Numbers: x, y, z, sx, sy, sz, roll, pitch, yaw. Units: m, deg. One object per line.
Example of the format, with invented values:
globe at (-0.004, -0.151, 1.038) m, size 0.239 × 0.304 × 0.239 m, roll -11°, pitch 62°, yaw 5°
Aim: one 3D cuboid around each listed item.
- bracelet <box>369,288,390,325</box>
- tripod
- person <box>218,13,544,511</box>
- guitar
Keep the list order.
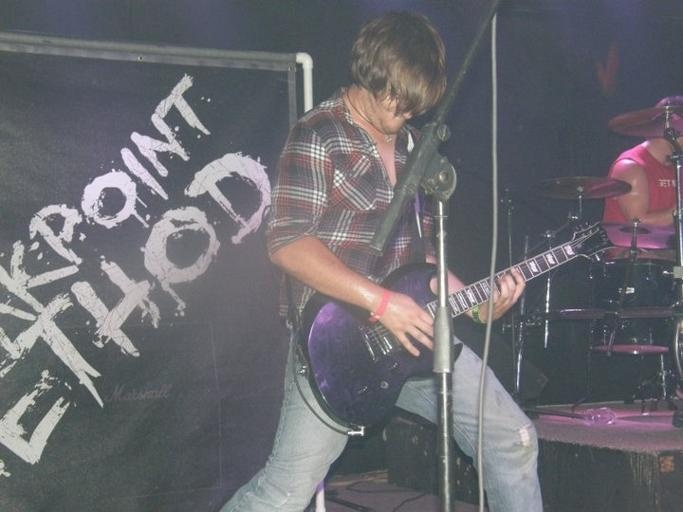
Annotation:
bracelet at (0.172, 0.221, 3.355) m, size 0.072 × 0.158 × 0.081 m, roll 13°, pitch 13°, yaw 2°
tripod at (1.364, 0.436, 5.321) m, size 0.593 × 1.372 × 0.185 m, roll 7°, pitch 3°, yaw 16°
person at (0.256, 0.183, 3.489) m, size 1.288 × 2.468 × 0.855 m, roll 12°, pitch 12°, yaw -4°
guitar at (0.533, 0.248, 3.488) m, size 1.524 × 0.646 × 0.159 m, roll -29°, pitch 17°, yaw -26°
